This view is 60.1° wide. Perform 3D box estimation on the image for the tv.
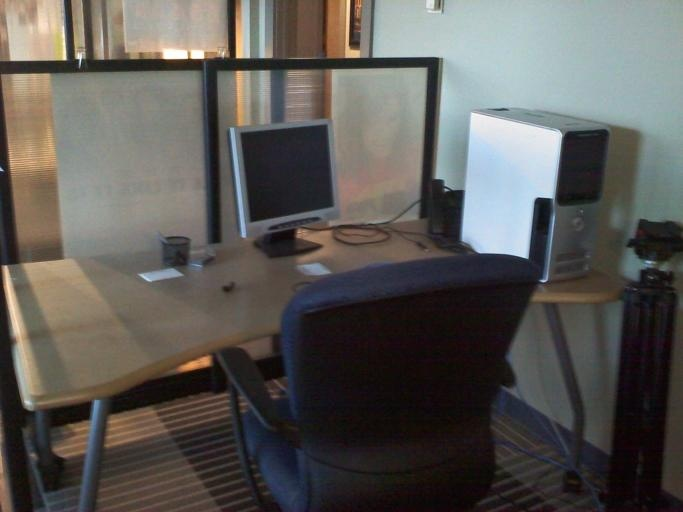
[{"bbox_3d":[-0.250,-0.282,2.421,0.493,0.520,0.192,-15,29,-30],"label":"tv"}]
